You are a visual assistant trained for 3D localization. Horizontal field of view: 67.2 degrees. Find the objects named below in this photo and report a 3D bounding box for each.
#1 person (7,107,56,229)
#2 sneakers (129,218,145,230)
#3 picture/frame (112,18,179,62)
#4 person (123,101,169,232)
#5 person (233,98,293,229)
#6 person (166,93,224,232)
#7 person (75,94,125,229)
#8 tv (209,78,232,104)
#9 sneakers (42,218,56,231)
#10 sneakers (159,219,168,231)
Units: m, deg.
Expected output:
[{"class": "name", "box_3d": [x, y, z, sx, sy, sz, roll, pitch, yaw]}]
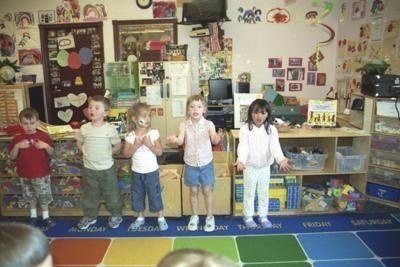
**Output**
[{"class": "person", "box_3d": [-2.100, 0.428, 3.803, 0.516, 1.472, 0.380, -2, 14, 2]}, {"class": "sneakers", "box_3d": [-0.784, 1.135, 3.803, 0.081, 0.090, 0.204, 11, 12, 37]}, {"class": "picture/frame", "box_3d": [-1.264, -2.234, 7.082, 1.230, 0.875, 0.088, 0, 6, -3]}, {"class": "person", "box_3d": [-0.686, 0.418, 3.638, 0.473, 1.531, 0.518, -6, 14, -15]}, {"class": "person", "box_3d": [0.738, 0.395, 3.635, 0.603, 1.553, 0.392, 0, 14, 6]}, {"class": "person", "box_3d": [-0.040, 0.361, 3.662, 0.567, 1.619, 0.441, -1, 14, 3]}, {"class": "person", "box_3d": [-1.267, 0.367, 3.711, 0.541, 1.603, 0.377, -2, 14, -1]}, {"class": "tv", "box_3d": [0.466, -1.043, 7.315, 0.676, 0.607, 0.231, 0, 6, -7]}, {"class": "sneakers", "box_3d": [-1.913, 1.150, 3.798, 0.167, 0.069, 0.088, -1, 12, 8]}, {"class": "sneakers", "box_3d": [-0.456, 1.132, 3.682, 0.081, 0.061, 0.144, -2, 2, -18]}]
